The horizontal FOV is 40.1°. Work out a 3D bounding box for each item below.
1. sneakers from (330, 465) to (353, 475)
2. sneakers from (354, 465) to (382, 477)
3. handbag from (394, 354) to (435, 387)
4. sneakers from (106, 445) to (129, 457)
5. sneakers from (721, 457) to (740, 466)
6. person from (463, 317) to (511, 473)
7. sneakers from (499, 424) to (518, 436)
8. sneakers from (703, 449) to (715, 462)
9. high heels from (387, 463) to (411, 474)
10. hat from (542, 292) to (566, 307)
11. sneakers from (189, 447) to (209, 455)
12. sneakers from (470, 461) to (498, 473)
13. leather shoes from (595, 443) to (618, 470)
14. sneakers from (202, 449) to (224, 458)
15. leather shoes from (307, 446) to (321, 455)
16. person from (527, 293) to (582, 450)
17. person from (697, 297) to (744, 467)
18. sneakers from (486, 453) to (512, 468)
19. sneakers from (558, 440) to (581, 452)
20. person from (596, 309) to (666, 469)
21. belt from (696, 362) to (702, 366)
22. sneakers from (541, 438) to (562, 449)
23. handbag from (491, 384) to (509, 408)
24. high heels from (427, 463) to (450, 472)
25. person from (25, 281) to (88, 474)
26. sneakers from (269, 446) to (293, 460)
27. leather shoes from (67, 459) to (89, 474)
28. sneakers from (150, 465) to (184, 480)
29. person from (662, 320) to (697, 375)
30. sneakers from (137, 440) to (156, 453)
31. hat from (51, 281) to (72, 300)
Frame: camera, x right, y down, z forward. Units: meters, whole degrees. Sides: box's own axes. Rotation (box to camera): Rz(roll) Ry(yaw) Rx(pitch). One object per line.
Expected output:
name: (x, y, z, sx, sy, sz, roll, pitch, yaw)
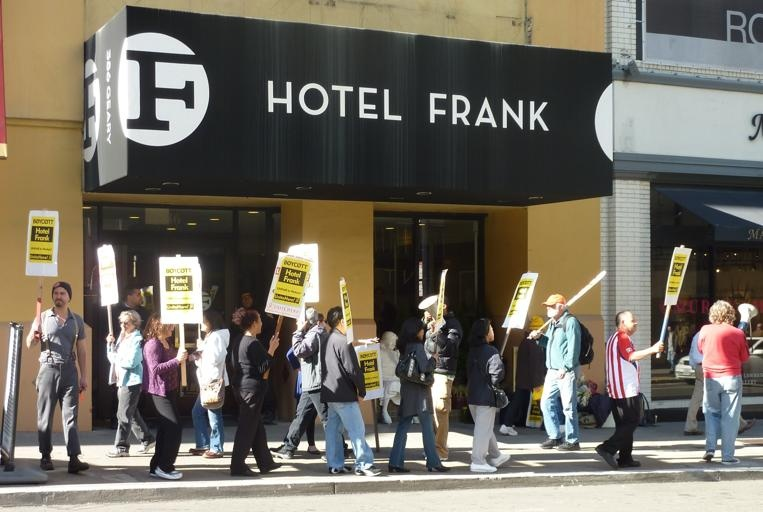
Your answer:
sneakers: (-0.637, 3.485, 16.922, 0.365, 0.161, 0.130, -1, 2, -27)
sneakers: (-0.200, 3.451, 16.697, 0.421, 0.210, 0.160, -1, -4, 4)
handbag: (0.581, 1.873, 17.007, 0.754, 0.780, 0.383, 5, -5, -16)
sneakers: (-4.446, 3.307, 17.610, 0.298, 0.138, 0.179, 3, -3, 10)
sneakers: (6.051, 3.549, 17.975, 0.338, 0.153, 0.137, -1, 2, -20)
person: (1.781, 2.317, 17.405, 0.648, 2.494, 0.652, 0, -2, 7)
sneakers: (2.480, 3.406, 20.300, 0.311, 0.143, 0.144, 10, 1, -16)
sneakers: (5.688, 3.470, 18.085, 0.095, 0.104, 0.249, 6, -40, 0)
high heels: (0.316, 3.484, 17.052, 0.394, 0.183, 0.134, 1, -3, -12)
hat: (3.131, 0.813, 18.793, 0.412, 0.261, 0.310, 6, -4, 3)
sneakers: (-3.079, 3.374, 17.938, 0.383, 0.176, 0.133, 2, -5, 7)
sneakers: (1.692, 3.473, 17.123, 0.431, 0.184, 0.165, 1, -1, -8)
leather shoes: (3.785, 3.356, 17.504, 0.218, 0.519, 0.232, -33, 20, 9)
sneakers: (-2.837, 3.352, 17.654, 0.246, 0.103, 0.142, 5, -6, 1)
leather shoes: (-1.148, 3.398, 18.142, 0.099, 0.116, 0.277, 4, -11, -31)
person: (3.233, 2.121, 18.994, 0.801, 2.798, 0.839, 0, -2, 11)
person: (5.924, 2.195, 18.049, 0.775, 2.783, 0.491, -1, -2, 19)
sneakers: (1.991, 3.474, 17.555, 0.447, 0.188, 0.164, -28, 18, -22)
sneakers: (3.415, 3.449, 18.864, 0.398, 0.182, 0.161, 4, -3, 2)
person: (4.063, 2.265, 17.507, 0.862, 2.638, 0.781, -1, -2, 17)
belt: (6.130, 2.106, 20.055, 0.065, 0.070, 0.065, -4, -27, 7)
sneakers: (3.090, 3.425, 18.952, 0.403, 0.193, 0.146, 1, 1, -6)
handbag: (1.962, 2.337, 17.276, 0.308, 0.384, 0.164, 1, -2, -27)
high heels: (0.959, 3.492, 17.132, 0.357, 0.154, 0.136, -2, -1, -4)
person: (-5.108, 1.943, 16.685, 0.903, 3.024, 0.614, 0, -2, -6)
sneakers: (-1.681, 3.342, 17.795, 0.428, 0.211, 0.174, 7, 1, 28)
leather shoes: (-4.785, 3.337, 16.475, 0.366, 0.276, 0.152, 0, 0, -7)
sneakers: (-3.321, 3.370, 16.253, 0.469, 0.204, 0.191, 3, -1, -2)
person: (6.504, 2.017, 22.767, 0.640, 1.137, 0.319, 3, 11, 9)
sneakers: (-4.057, 3.286, 17.883, 0.414, 0.191, 0.165, -5, -6, 27)
hat: (-5.153, 0.485, 16.831, 0.308, 0.332, 0.350, -1, -30, -3)
